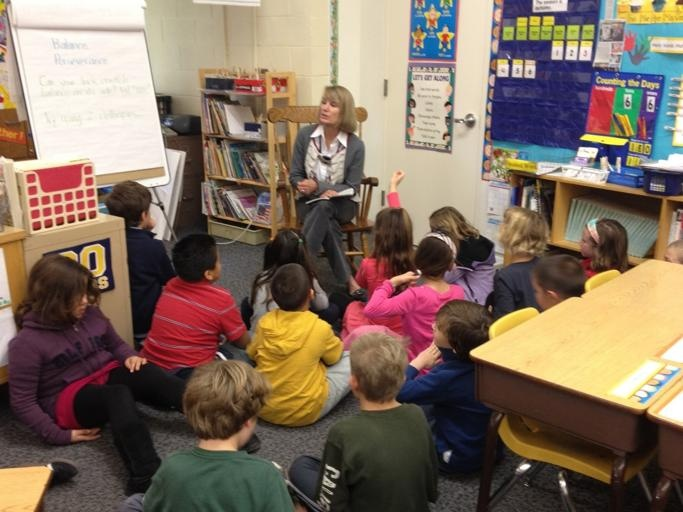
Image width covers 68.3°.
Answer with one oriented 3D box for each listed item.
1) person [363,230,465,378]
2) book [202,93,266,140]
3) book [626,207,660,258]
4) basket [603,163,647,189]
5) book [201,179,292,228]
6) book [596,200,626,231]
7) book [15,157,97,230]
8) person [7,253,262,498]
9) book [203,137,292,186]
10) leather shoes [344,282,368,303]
[{"bbox_3d":[0.375,0.260,2.556,0.479,0.724,0.511,5,10,12],"label":"person"},{"bbox_3d":[-0.969,-1.190,4.424,0.437,0.189,0.580,-8,17,-40],"label":"book"},{"bbox_3d":[1.825,-0.125,3.054,0.060,0.228,0.217,12,9,-35],"label":"book"},{"bbox_3d":[1.707,-0.442,3.035,0.188,0.048,0.207,16,20,41],"label":"basket"},{"bbox_3d":[-0.899,-0.468,4.563,0.598,0.178,0.453,13,19,29],"label":"book"},{"bbox_3d":[1.574,-0.229,2.938,0.147,0.205,0.180,6,17,29],"label":"book"},{"bbox_3d":[-1.358,-0.290,2.360,0.329,0.248,0.321,-10,13,-43],"label":"book"},{"bbox_3d":[-0.722,0.403,2.193,1.295,0.863,0.673,9,14,25],"label":"person"},{"bbox_3d":[-0.882,-0.848,4.488,0.643,0.194,0.484,12,19,30],"label":"book"},{"bbox_3d":[0.106,0.242,3.209,0.061,0.045,0.169,-10,19,-26],"label":"leather shoes"}]
